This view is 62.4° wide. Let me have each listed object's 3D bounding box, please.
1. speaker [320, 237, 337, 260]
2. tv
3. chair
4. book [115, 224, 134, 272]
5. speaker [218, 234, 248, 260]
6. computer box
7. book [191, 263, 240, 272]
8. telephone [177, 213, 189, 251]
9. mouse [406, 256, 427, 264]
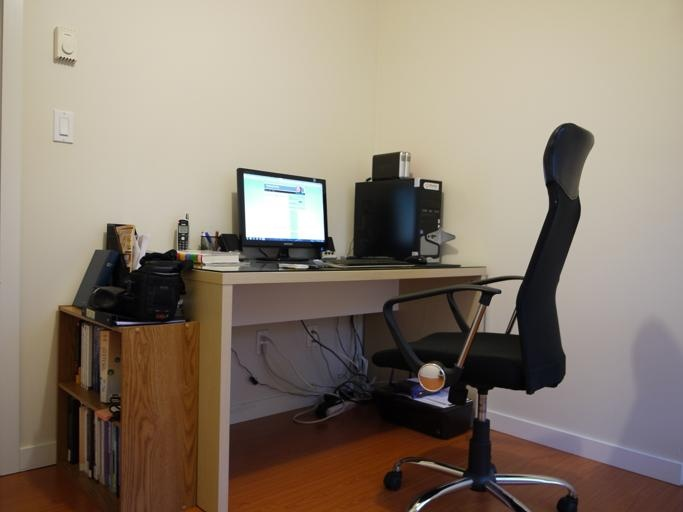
[{"bbox_3d":[-0.067,-0.043,3.240,0.114,0.154,0.108,1,1,-18],"label":"speaker"},{"bbox_3d":[-0.332,-0.222,3.049,0.495,0.421,0.133,1,-4,-40],"label":"tv"},{"bbox_3d":[0.600,0.267,2.307,0.826,1.593,0.536,2,9,4],"label":"chair"},{"bbox_3d":[-0.967,-0.046,2.549,0.052,0.188,0.135,1,10,-10],"label":"book"},{"bbox_3d":[-0.572,-0.051,2.981,0.131,0.144,0.139,-26,-15,38],"label":"speaker"},{"bbox_3d":[0.364,-0.185,3.425,0.475,0.499,0.277,4,5,42],"label":"computer box"},{"bbox_3d":[-0.515,0.053,2.346,0.189,0.026,0.211,-1,10,-15],"label":"book"},{"bbox_3d":[-0.794,-0.115,2.847,0.056,0.230,0.037,-1,34,-17],"label":"telephone"},{"bbox_3d":[0.405,0.017,3.017,0.067,0.028,0.048,5,6,36],"label":"mouse"}]
